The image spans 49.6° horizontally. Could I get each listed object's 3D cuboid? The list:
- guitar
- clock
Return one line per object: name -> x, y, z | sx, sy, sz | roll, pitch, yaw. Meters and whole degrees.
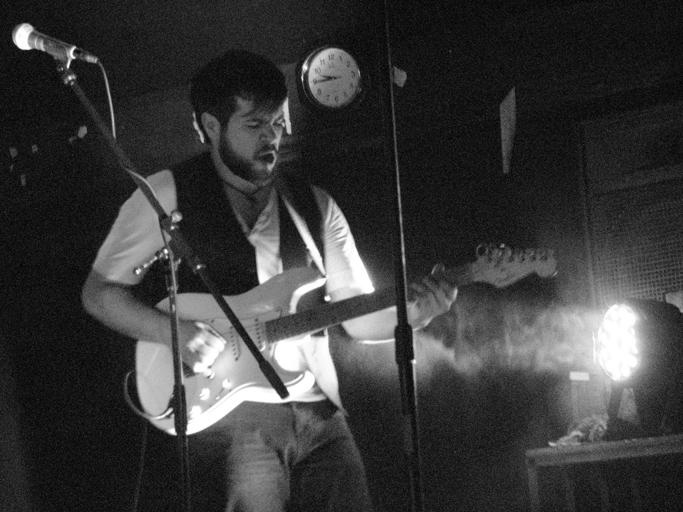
guitar -> -0.004, 0.261, 3.040 | 1.692, 0.611, 0.220 | -16, 0, -14
clock -> -0.036, -0.676, 2.835 | 0.224, 0.243, 0.053 | -3, 4, -23
